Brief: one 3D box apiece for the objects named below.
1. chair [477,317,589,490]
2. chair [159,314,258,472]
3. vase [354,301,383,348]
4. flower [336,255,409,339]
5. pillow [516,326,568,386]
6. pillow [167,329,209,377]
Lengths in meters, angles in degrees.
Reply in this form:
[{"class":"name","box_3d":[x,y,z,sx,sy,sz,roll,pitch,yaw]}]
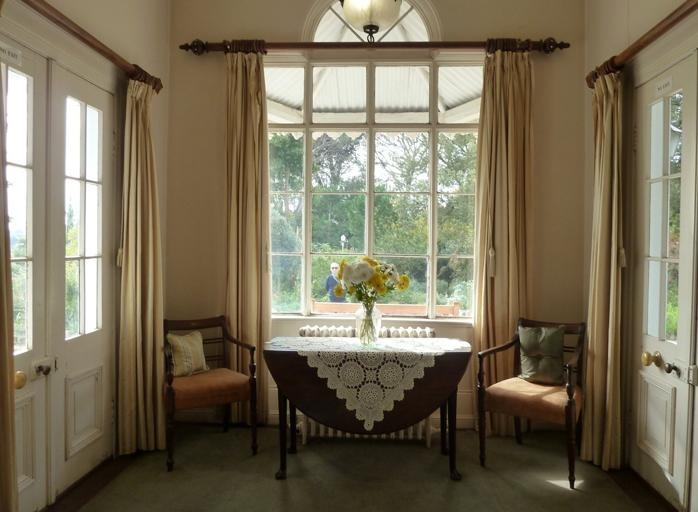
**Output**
[{"class":"chair","box_3d":[1.575,1.154,5.098,0.763,1.233,0.706,2,1,36]},{"class":"chair","box_3d":[-1.276,1.126,5.285,0.847,1.156,0.907,-3,-1,26]},{"class":"vase","box_3d":[0.144,0.578,5.209,0.272,0.481,0.274,1,-5,-3]},{"class":"flower","box_3d":[0.174,0.411,5.146,0.504,0.697,0.543,1,-1,11]},{"class":"pillow","box_3d":[1.648,0.851,5.183,0.373,0.494,0.174,-10,-25,34]},{"class":"pillow","box_3d":[-1.425,0.863,5.315,0.127,0.345,0.339,-12,-5,34]}]
